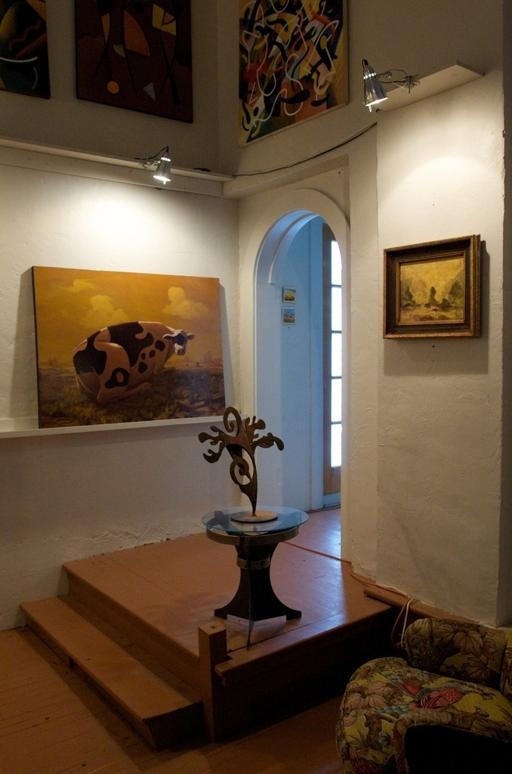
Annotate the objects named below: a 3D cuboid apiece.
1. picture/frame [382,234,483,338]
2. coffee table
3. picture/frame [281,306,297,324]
[{"bbox_3d":[0.903,-0.512,2.922,0.092,0.534,0.552,0,1,-39],"label":"picture/frame"},{"bbox_3d":[-0.009,0.898,2.843,0.520,0.621,0.545,0,1,35],"label":"coffee table"},{"bbox_3d":[0.281,-0.622,5.070,0.032,0.150,0.231,0,9,30],"label":"picture/frame"}]
